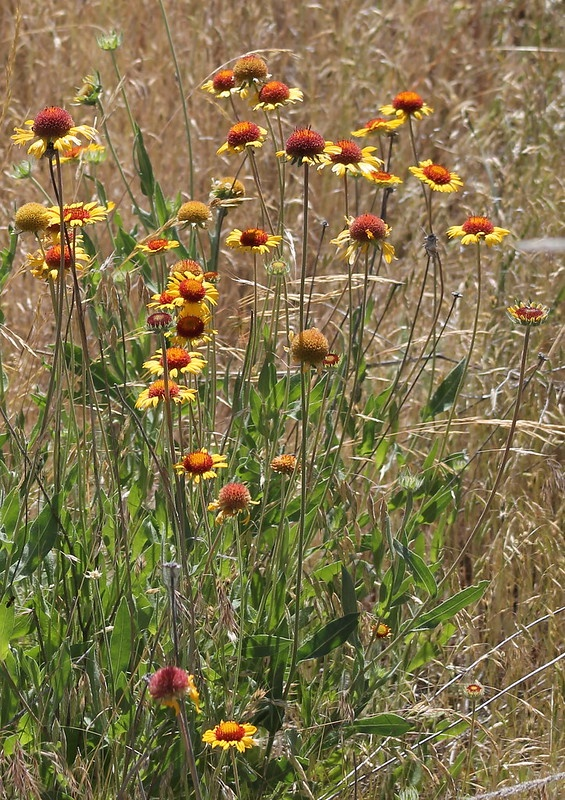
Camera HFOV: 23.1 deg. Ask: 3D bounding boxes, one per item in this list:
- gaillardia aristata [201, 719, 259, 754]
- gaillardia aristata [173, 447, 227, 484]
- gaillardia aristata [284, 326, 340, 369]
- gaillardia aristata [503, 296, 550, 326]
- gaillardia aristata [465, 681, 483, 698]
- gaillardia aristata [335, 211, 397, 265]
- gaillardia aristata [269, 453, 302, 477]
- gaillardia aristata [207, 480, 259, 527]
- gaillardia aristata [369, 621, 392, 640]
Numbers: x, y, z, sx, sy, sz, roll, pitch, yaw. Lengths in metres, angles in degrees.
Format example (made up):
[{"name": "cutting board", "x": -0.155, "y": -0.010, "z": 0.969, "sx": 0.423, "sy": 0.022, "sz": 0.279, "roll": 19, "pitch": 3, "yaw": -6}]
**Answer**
[{"name": "gaillardia aristata", "x": -0.097, "y": 0.707, "z": 2.870, "sx": 0.083, "sy": 0.035, "sz": 0.089, "roll": 8, "pitch": 14, "yaw": 34}, {"name": "gaillardia aristata", "x": -0.193, "y": 0.171, "z": 3.207, "sx": 0.080, "sy": 0.042, "sz": 0.086, "roll": -18, "pitch": 25, "yaw": -19}, {"name": "gaillardia aristata", "x": 0.065, "y": -0.104, "z": 3.130, "sx": 0.079, "sy": 0.108, "sz": 0.113, "roll": 9, "pitch": -4, "yaw": -21}, {"name": "gaillardia aristata", "x": 0.564, "y": -0.217, "z": 3.163, "sx": 0.076, "sy": 0.040, "sz": 0.088, "roll": 1, "pitch": 9, "yaw": -5}, {"name": "gaillardia aristata", "x": 0.436, "y": 0.660, "z": 3.165, "sx": 0.033, "sy": 0.040, "sz": 0.036, "roll": -12, "pitch": 10, "yaw": -39}, {"name": "gaillardia aristata", "x": 0.216, "y": -0.400, "z": 3.344, "sx": 0.121, "sy": 0.077, "sz": 0.134, "roll": 7, "pitch": 3, "yaw": -34}, {"name": "gaillardia aristata", "x": 0.009, "y": 0.164, "z": 3.296, "sx": 0.045, "sy": 0.049, "sz": 0.053, "roll": -1, "pitch": 19, "yaw": 6}, {"name": "gaillardia aristata", "x": -0.115, "y": 0.255, "z": 3.122, "sx": 0.093, "sy": 0.091, "sz": 0.096, "roll": 8, "pitch": 14, "yaw": 42}, {"name": "gaillardia aristata", "x": 0.231, "y": 0.551, "z": 3.304, "sx": 0.039, "sy": 0.049, "sz": 0.014, "roll": 15, "pitch": -31, "yaw": -12}]
